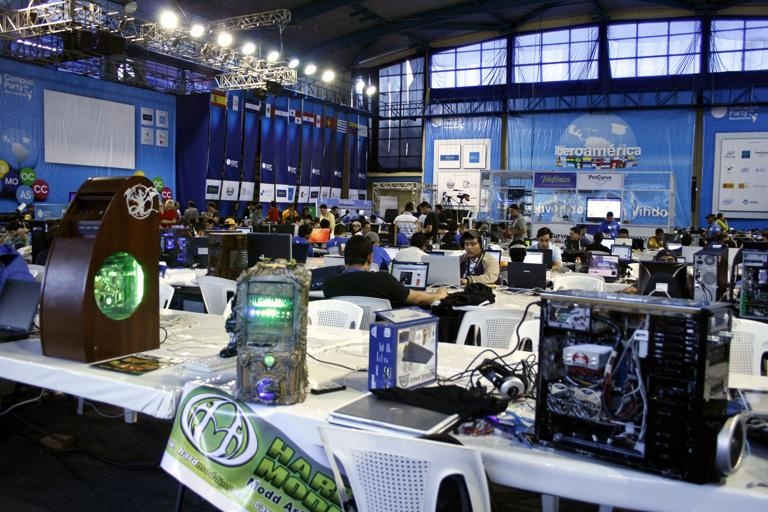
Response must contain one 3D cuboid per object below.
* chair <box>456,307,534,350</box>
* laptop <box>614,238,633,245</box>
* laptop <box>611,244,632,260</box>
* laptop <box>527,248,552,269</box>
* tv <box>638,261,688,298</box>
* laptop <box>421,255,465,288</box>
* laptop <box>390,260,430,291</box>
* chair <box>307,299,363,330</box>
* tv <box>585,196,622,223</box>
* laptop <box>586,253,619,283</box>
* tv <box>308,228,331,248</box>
[{"bbox_3d":[0.846,0.513,4.368,0.425,0.554,0.398,1,-8,35],"label":"chair"},{"bbox_3d":[4.178,-0.232,10.126,0.158,0.110,0.086,-1,-3,7],"label":"laptop"},{"bbox_3d":[3.407,-0.030,8.328,0.209,0.151,0.116,2,-2,38],"label":"laptop"},{"bbox_3d":[1.899,0.109,7.058,0.342,0.226,0.244,1,-3,5],"label":"laptop"},{"bbox_3d":[2.037,0.178,4.214,0.120,0.212,0.230,6,-8,-44],"label":"tv"},{"bbox_3d":[0.617,0.168,6.119,0.426,0.314,0.306,2,1,31],"label":"laptop"},{"bbox_3d":[0.264,0.209,5.802,0.361,0.261,0.247,6,-5,22],"label":"laptop"},{"bbox_3d":[-0.336,0.429,4.166,0.242,0.354,0.255,1,-8,15],"label":"chair"},{"bbox_3d":[5.089,-1.032,13.410,0.667,0.488,0.093,3,3,30],"label":"tv"},{"bbox_3d":[2.691,0.125,7.137,0.405,0.398,0.333,6,5,31],"label":"laptop"},{"bbox_3d":[-1.092,-0.298,9.924,0.380,0.372,0.313,4,-8,1],"label":"tv"}]
